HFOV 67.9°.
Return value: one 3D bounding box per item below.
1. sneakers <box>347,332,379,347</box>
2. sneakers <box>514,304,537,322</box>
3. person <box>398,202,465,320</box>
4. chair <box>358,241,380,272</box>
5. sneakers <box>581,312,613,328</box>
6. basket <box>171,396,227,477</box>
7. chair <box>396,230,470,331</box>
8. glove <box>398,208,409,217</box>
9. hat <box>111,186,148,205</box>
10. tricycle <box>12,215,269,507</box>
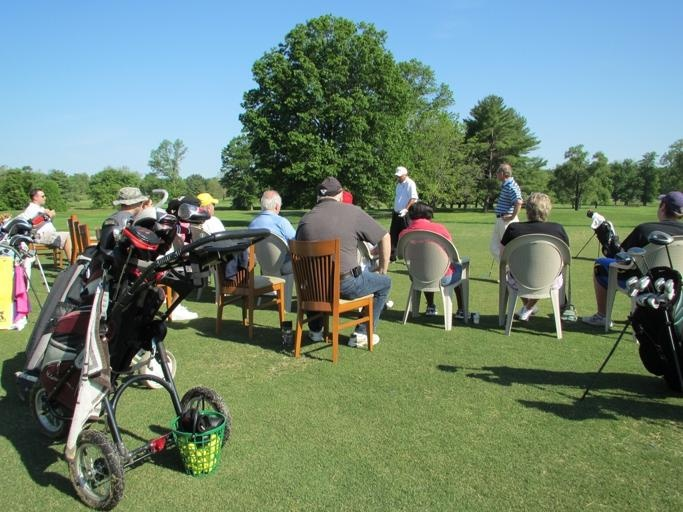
[{"bbox_3d":[0.280,1.031,6.277,0.300,0.165,0.173,-3,-3,-12],"label":"sneakers"},{"bbox_3d":[2.609,0.771,7.211,0.169,0.200,0.378,6,16,38],"label":"sneakers"},{"bbox_3d":[1.298,0.219,6.884,0.760,1.471,0.987,6,20,30],"label":"person"},{"bbox_3d":[0.365,-0.008,6.724,0.242,0.349,0.244,-14,21,-31],"label":"chair"},{"bbox_3d":[3.457,0.877,6.880,0.386,0.182,0.167,2,3,30],"label":"sneakers"},{"bbox_3d":[-1.090,1.429,4.070,0.432,0.572,0.460,2,-4,-33],"label":"basket"},{"bbox_3d":[1.266,0.282,6.926,0.900,1.320,0.811,3,9,21],"label":"chair"},{"bbox_3d":[1.322,-0.935,10.872,0.178,0.136,0.068,-38,-41,27],"label":"glove"},{"bbox_3d":[-2.796,-0.789,6.697,0.371,0.168,0.357,-8,16,-19],"label":"hat"},{"bbox_3d":[-1.723,0.968,4.474,1.972,1.650,0.915,11,13,40],"label":"tricycle"}]
